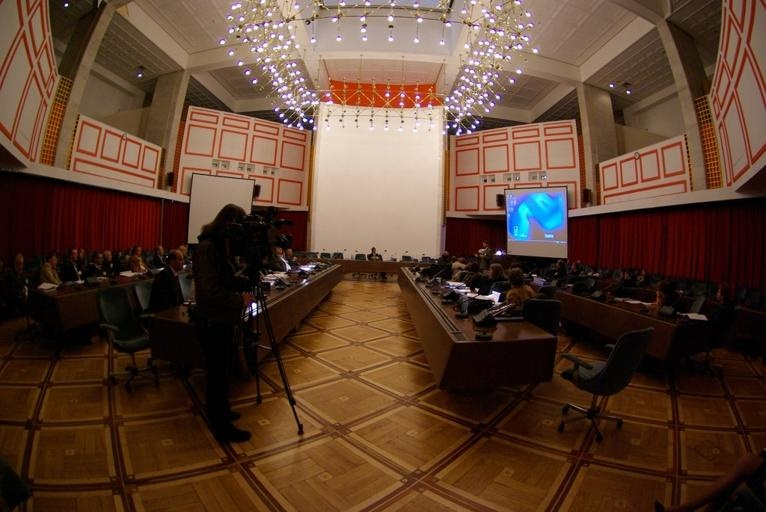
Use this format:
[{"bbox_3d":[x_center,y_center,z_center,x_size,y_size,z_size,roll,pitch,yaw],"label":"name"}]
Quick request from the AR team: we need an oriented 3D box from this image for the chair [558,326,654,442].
[{"bbox_3d":[2.665,1.483,5.252,0.968,1.325,0.692,1,4,28],"label":"chair"}]

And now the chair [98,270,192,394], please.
[{"bbox_3d":[-3.506,1.008,6.032,0.682,1.347,1.370,-3,4,-29],"label":"chair"}]

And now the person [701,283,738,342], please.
[{"bbox_3d":[4.848,0.878,6.249,0.299,0.809,0.837,2,5,39],"label":"person"}]
